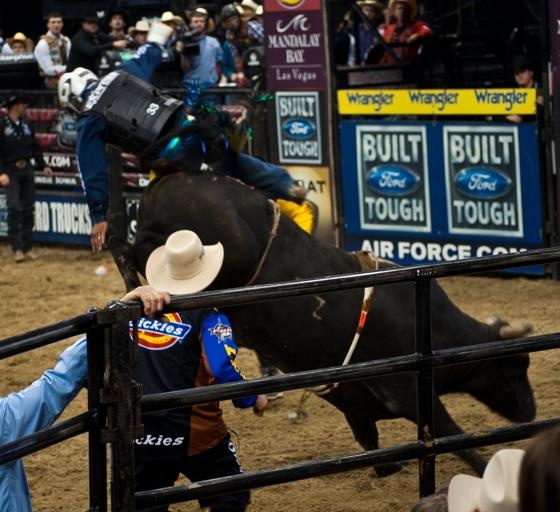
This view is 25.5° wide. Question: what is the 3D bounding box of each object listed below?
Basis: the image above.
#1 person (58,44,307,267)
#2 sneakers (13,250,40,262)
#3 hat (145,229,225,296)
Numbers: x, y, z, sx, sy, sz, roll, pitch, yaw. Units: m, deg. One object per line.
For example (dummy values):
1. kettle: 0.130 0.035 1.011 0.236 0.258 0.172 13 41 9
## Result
1. person: -0.848 -0.435 7.366 1.207 0.370 1.187 25 44 23
2. sneakers: -2.703 -0.014 12.904 0.285 0.122 0.095 -19 32 -25
3. hat: -0.478 0.038 6.166 0.321 0.136 0.350 22 52 31
